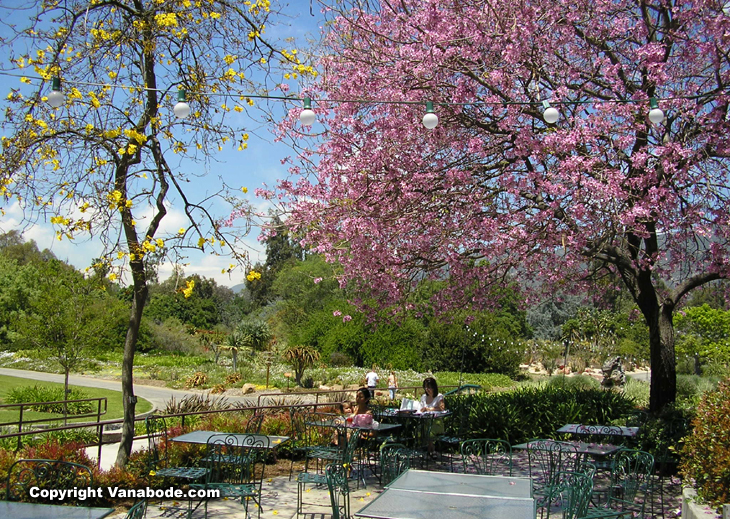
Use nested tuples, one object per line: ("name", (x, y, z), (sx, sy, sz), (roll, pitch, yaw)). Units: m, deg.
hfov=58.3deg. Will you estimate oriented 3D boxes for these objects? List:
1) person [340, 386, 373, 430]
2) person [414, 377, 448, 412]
("person", (-0.153, 2.941, 12.701), (0.580, 0.811, 0.483), (6, -5, 26))
("person", (1.328, 2.980, 13.524), (0.579, 1.026, 0.558), (-10, -18, 32))
